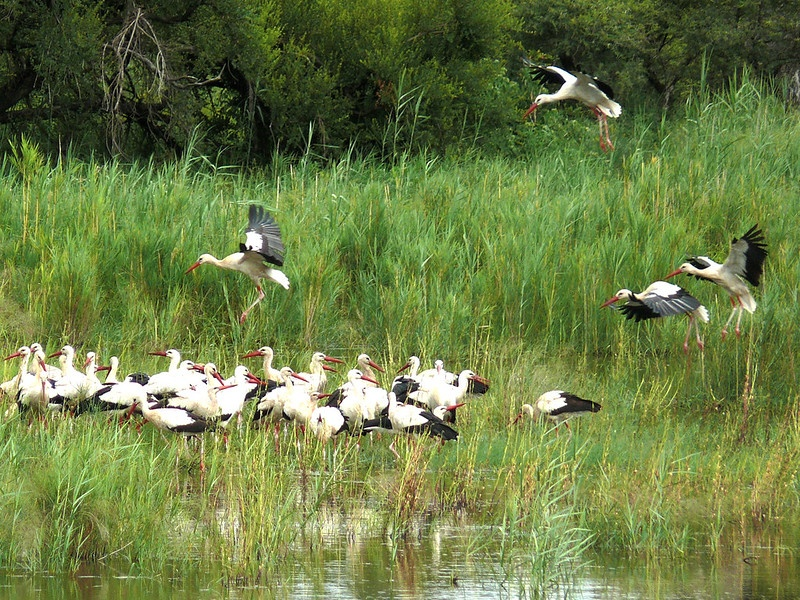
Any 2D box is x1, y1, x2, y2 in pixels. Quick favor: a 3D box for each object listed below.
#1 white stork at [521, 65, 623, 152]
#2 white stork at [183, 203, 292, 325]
[{"bbox_3d":[3.430,-3.897,24.303,1.438,1.503,2.535,-22,20,1],"label":"white stork"},{"bbox_3d":[-1.982,-0.460,15.947,1.041,1.593,1.139,-5,12,-39],"label":"white stork"}]
